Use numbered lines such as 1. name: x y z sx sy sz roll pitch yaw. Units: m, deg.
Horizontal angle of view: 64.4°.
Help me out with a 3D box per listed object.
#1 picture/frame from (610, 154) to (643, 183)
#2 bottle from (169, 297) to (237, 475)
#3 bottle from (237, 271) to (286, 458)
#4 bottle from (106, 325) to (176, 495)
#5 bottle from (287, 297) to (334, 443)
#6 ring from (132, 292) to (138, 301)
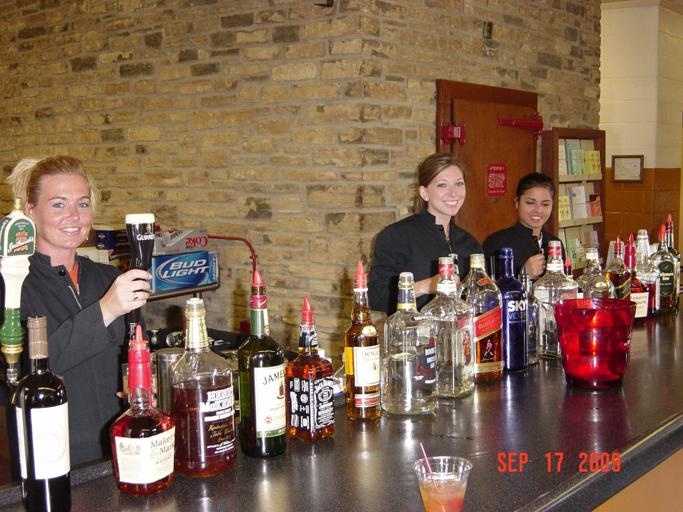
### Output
1. picture/frame: 3.438 -1.070 6.557 0.373 0.323 0.028 8 11 38
2. bottle: -0.278 0.268 1.070 0.113 0.355 0.050 -3 11 -17
3. bottle: -0.171 0.236 1.142 0.095 0.404 0.062 -2 11 -11
4. bottle: -0.373 0.289 1.010 0.109 0.335 0.070 -5 11 -23
5. bottle: -0.073 0.256 1.257 0.109 0.340 0.153 0 10 -2
6. ring: -0.538 0.108 1.412 0.013 0.015 0.015 -3 -6 -3
